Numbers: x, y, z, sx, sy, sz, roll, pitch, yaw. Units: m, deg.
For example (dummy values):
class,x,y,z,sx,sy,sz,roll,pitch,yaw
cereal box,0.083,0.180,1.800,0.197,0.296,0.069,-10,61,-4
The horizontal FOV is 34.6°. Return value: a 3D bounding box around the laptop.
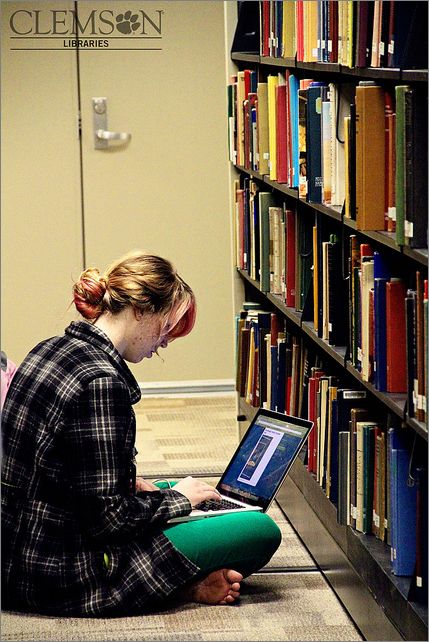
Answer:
class,x,y,z,sx,sy,sz,roll,pitch,yaw
laptop,0.080,0.349,1.935,0.314,0.238,0.291,-7,5,-22
